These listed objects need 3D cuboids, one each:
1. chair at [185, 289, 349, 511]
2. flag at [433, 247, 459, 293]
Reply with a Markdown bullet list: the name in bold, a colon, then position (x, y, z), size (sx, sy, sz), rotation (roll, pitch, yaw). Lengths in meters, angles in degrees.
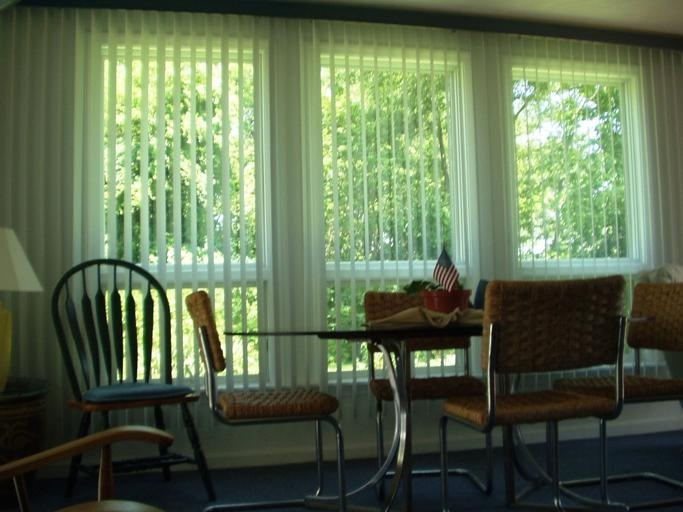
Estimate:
- **chair**: position (-0.408, 0.801, 4.286), size (0.847, 1.335, 0.734), rotation (-4, 5, 3)
- **flag**: position (0.603, 0.083, 4.304), size (0.197, 0.330, 0.014), rotation (3, 1, 44)
